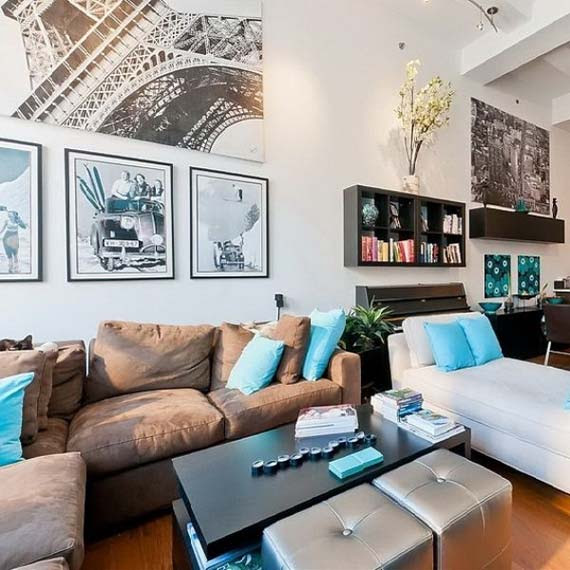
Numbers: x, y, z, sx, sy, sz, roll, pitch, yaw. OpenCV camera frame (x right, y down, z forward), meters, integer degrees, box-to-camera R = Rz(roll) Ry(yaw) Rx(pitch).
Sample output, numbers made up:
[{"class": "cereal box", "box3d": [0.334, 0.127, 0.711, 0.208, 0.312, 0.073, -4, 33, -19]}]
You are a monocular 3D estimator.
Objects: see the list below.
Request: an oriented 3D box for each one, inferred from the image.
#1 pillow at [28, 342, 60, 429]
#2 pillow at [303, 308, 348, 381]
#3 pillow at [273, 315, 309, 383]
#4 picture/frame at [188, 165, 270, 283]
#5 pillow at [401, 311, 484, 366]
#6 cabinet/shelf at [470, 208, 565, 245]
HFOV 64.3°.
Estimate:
[{"class": "pillow", "box3d": [-1.288, 0.544, 2.419, 0.084, 0.341, 0.295, 5, -5, -20]}, {"class": "pillow", "box3d": [0.243, 0.387, 2.962, 0.110, 0.413, 0.373, 16, -15, -24]}, {"class": "pillow", "box3d": [0.053, 0.587, 3.171, 0.220, 0.484, 0.696, 2, -24, -1]}, {"class": "picture/frame", "box3d": [-0.473, -0.478, 3.548, 0.804, 1.138, 0.038, -2, 3, -33]}, {"class": "pillow", "box3d": [1.057, 0.410, 3.229, 0.364, 0.423, 0.118, -6, -4, -22]}, {"class": "cabinet/shelf", "box3d": [2.872, -0.719, 5.546, 1.544, 0.492, 0.286, -6, 14, -28]}]
